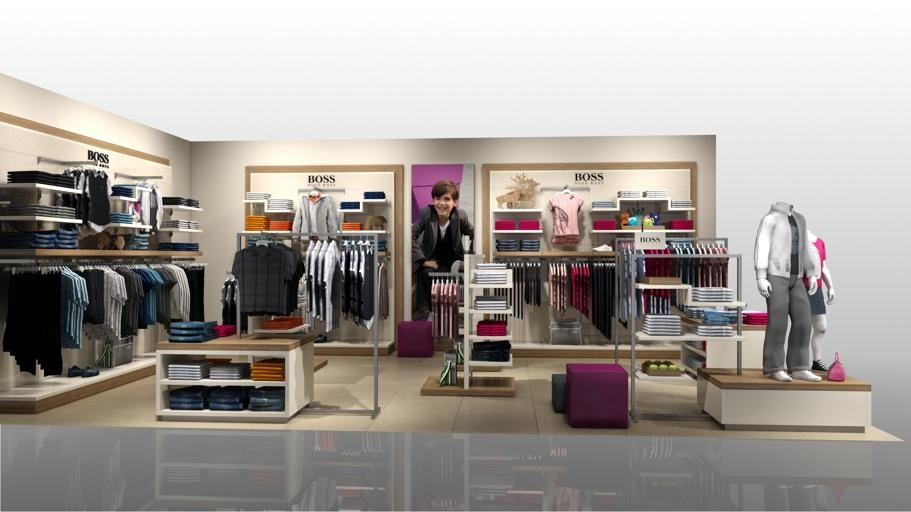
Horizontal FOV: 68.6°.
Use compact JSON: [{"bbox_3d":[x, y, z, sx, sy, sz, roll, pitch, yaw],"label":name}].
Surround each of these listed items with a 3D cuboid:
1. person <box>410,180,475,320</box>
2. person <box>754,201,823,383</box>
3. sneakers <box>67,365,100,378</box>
[{"bbox_3d":[-0.318,-0.113,12.984,1.087,2.683,0.464,0,13,1],"label":"person"},{"bbox_3d":[4.571,0.472,9.105,0.928,2.331,0.836,0,13,1],"label":"person"},{"bbox_3d":[-5.891,1.792,10.452,0.365,0.110,0.198,0,-2,2],"label":"sneakers"}]
